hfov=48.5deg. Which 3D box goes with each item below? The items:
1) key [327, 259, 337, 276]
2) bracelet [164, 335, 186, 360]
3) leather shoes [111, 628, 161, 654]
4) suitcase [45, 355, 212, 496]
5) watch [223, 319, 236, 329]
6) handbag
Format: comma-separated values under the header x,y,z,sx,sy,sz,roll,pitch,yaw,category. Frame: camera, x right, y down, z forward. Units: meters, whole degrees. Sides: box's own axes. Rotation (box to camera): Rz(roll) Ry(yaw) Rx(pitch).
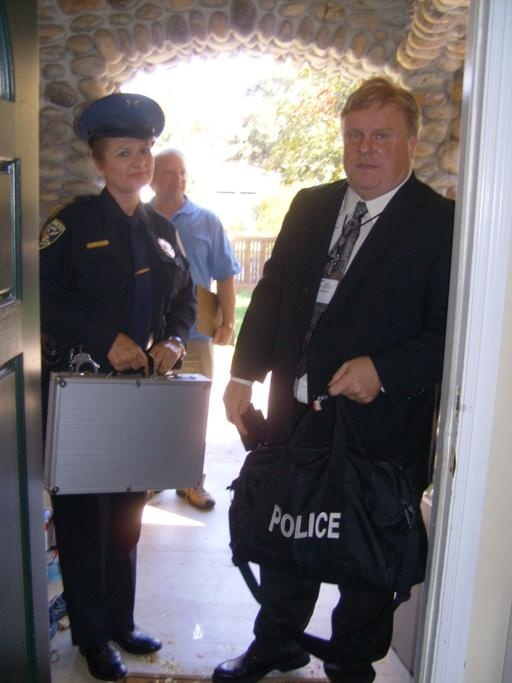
x,y,z,sx,sy,sz,roll,pitch,yaw,category
0.222,-0.214,1.633,0.011,0.041,0.030,12,-5,-39,key
-0.269,0.022,1.923,0.049,0.078,0.076,-32,1,-9,bracelet
-0.401,1.027,1.928,0.172,0.071,0.072,3,13,17,leather shoes
-0.380,0.239,1.615,0.414,0.340,0.149,2,5,-18,suitcase
-0.156,-0.100,3.406,0.040,0.053,0.029,-4,-32,-4,watch
0.196,0.365,1.393,0.549,0.528,0.292,3,-6,26,handbag
